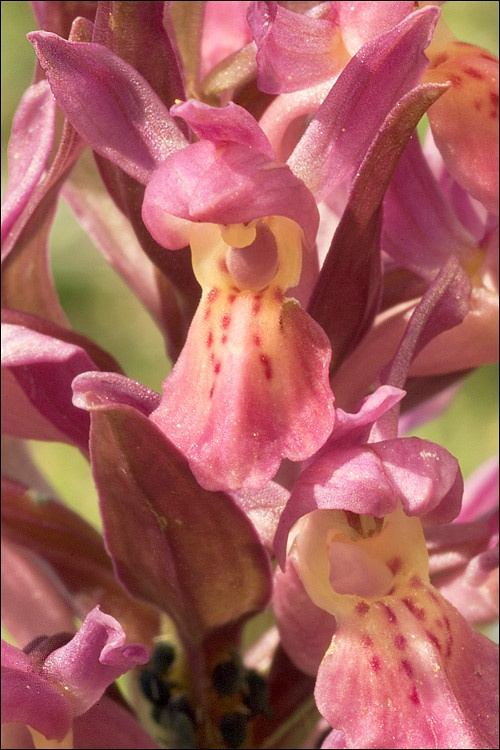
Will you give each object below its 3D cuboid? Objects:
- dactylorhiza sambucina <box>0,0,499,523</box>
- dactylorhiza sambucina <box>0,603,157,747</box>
[{"bbox_3d":[-0.023,-0.145,1.088,0.569,0.280,0.697,-6,69,14],"label":"dactylorhiza sambucina"},{"bbox_3d":[-0.087,0.177,0.462,0.097,0.043,0.084,-15,6,-20],"label":"dactylorhiza sambucina"}]
